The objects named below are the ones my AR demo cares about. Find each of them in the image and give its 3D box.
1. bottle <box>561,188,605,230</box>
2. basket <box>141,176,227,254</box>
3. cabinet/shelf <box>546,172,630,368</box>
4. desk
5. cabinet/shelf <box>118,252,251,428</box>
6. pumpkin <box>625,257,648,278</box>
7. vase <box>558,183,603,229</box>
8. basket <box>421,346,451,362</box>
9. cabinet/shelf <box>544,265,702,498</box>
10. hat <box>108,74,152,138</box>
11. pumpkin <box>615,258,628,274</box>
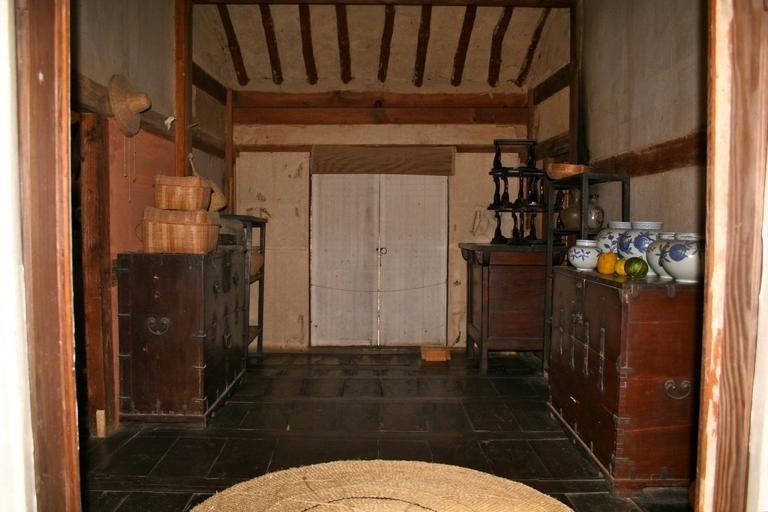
[{"bbox_3d":[1.832,-0.402,6.200,0.436,0.393,0.423,-2,5,-28],"label":"bottle"},{"bbox_3d":[-1.592,-0.324,5.749,0.677,0.633,0.669,1,1,5],"label":"basket"},{"bbox_3d":[1.732,0.171,6.502,0.450,1.748,0.721,0,1,12],"label":"cabinet/shelf"},{"bbox_3d":[1.171,0.418,7.446,1.133,1.395,1.553,0,2,0],"label":"desk"},{"bbox_3d":[-1.671,0.700,5.540,0.586,0.865,1.449,0,1,-4],"label":"cabinet/shelf"},{"bbox_3d":[1.760,0.090,4.818,0.148,0.162,0.143,-8,-15,32],"label":"pumpkin"},{"bbox_3d":[1.805,-0.446,6.171,0.434,0.389,0.418,0,4,1],"label":"vase"},{"bbox_3d":[0.589,1.057,7.559,0.323,0.138,0.481,3,11,11],"label":"basket"},{"bbox_3d":[1.860,0.849,5.315,1.234,1.534,2.048,0,1,3],"label":"cabinet/shelf"},{"bbox_3d":[-2.125,-1.230,5.597,0.195,0.501,0.337,11,16,41],"label":"hat"},{"bbox_3d":[1.705,0.084,4.903,0.095,0.103,0.092,-1,-8,28],"label":"pumpkin"}]
